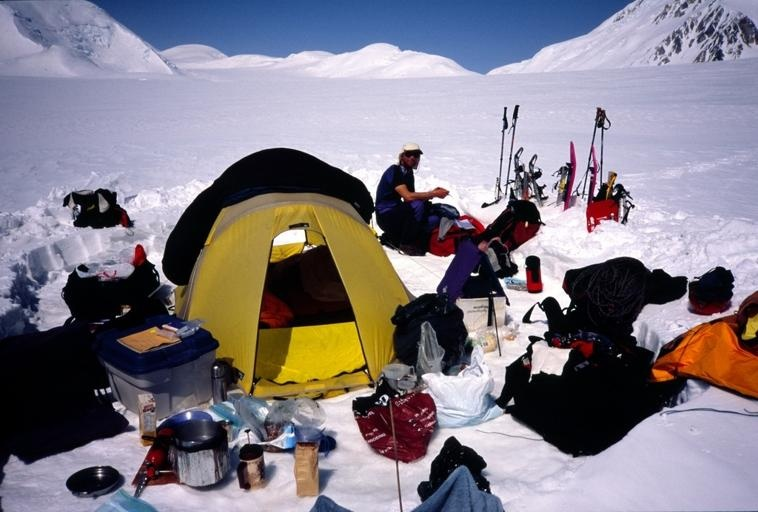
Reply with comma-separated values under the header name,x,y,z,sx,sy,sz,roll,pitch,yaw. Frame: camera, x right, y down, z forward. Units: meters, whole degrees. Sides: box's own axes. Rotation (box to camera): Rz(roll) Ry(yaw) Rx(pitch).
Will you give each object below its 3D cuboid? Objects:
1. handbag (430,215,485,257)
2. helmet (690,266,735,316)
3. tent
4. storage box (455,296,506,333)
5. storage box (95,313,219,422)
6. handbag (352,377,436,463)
name,x,y,z,sx,sy,sz,roll,pitch,yaw
handbag,1.286,-0.332,9.651,0.914,0.671,0.595,1,19,12
helmet,3.867,0.428,6.686,0.391,0.618,0.223,44,0,16
tent,-0.977,0.108,6.617,2.539,2.541,1.792,-8,19,-14
storage box,1.272,0.755,7.217,0.644,0.419,0.344,-2,-11,-19
storage box,-2.424,1.105,6.150,1.153,0.744,0.970,19,25,36
handbag,0.155,1.613,5.644,0.594,0.289,0.726,-11,39,-6
